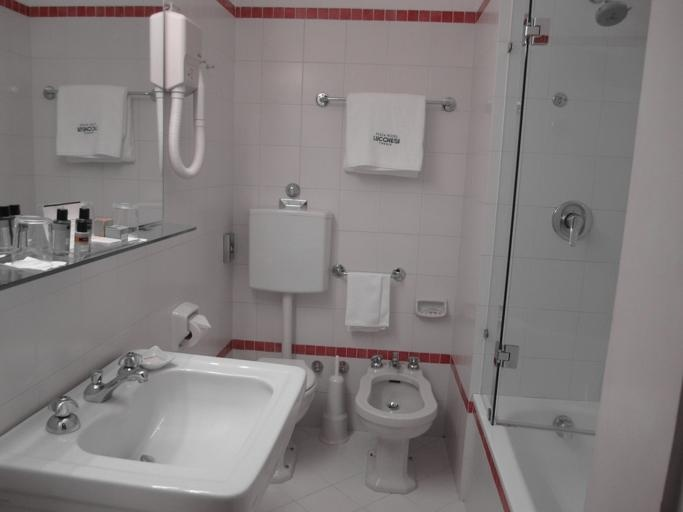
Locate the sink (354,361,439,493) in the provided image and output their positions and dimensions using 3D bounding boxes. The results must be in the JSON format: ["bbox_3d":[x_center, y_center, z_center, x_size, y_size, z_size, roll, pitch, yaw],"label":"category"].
[{"bbox_3d":[0.294,0.921,2.958,0.360,0.448,0.605,1,7,5],"label":"sink"}]

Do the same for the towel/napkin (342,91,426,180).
[{"bbox_3d":[0.227,-0.656,2.989,0.386,0.437,0.105,6,12,3],"label":"towel/napkin"}]

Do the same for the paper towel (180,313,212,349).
[{"bbox_3d":[-0.594,0.298,2.239,0.075,0.120,0.159,6,13,20],"label":"paper towel"}]

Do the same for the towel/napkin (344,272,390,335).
[{"bbox_3d":[0.149,0.259,3.117,0.288,0.406,0.072,1,10,1],"label":"towel/napkin"}]

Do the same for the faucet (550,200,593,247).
[{"bbox_3d":[0.855,-0.124,2.011,0.116,0.163,0.041,5,14,26],"label":"faucet"}]

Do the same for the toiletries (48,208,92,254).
[{"bbox_3d":[-0.834,-0.074,1.663,0.047,0.141,0.117,12,14,38],"label":"toiletries"}]
